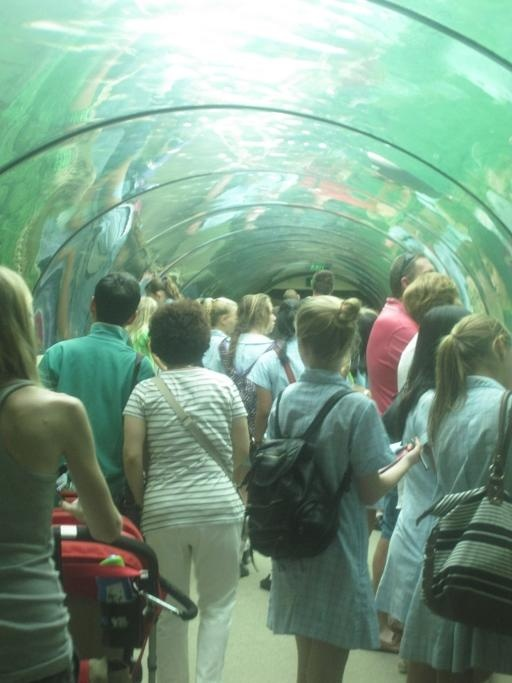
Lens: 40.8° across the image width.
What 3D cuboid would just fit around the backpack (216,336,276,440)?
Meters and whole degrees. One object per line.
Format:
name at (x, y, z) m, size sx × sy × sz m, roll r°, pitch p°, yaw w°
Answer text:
backpack at (-0.087, 0.387, 6.363) m, size 0.570 × 0.825 × 0.353 m, roll -4°, pitch 0°, yaw 29°

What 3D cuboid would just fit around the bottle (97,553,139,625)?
bottle at (-0.521, 0.940, 2.672) m, size 0.160 × 0.218 × 0.230 m, roll -1°, pitch -7°, yaw 1°
